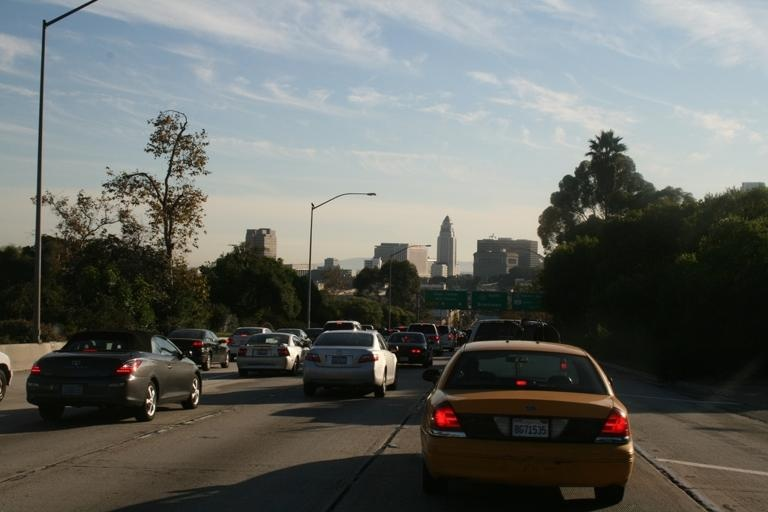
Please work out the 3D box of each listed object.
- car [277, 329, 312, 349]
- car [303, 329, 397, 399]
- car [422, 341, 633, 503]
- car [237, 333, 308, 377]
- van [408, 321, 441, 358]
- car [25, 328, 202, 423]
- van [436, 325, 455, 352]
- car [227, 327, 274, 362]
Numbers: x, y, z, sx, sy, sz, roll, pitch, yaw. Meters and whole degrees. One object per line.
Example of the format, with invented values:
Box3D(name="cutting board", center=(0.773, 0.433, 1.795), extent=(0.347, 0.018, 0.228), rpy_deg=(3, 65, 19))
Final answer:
Box3D(name="car", center=(-4.323, 4.144, 37.232), extent=(1.227, 0.878, 2.683), rpy_deg=(-1, -19, 5))
Box3D(name="car", center=(-0.810, 3.186, 21.501), extent=(1.915, 1.909, 2.714), rpy_deg=(-1, -4, 40))
Box3D(name="car", center=(2.061, 2.519, 10.806), extent=(2.897, 2.278, 1.271), rpy_deg=(1, -2, 7))
Box3D(name="car", center=(-4.296, 3.776, 27.983), extent=(2.422, 1.568, 1.206), rpy_deg=(3, -3, -23))
Box3D(name="van", center=(2.898, 5.347, 47.084), extent=(1.434, 1.396, 2.938), rpy_deg=(1, -2, 10))
Box3D(name="car", center=(-5.851, 2.697, 16.631), extent=(1.851, 1.968, 3.484), rpy_deg=(0, -4, 39))
Box3D(name="van", center=(4.714, 6.320, 56.181), extent=(1.206, 1.216, 2.552), rpy_deg=(0, 2, 9))
Box3D(name="car", center=(-7.178, 4.674, 37.245), extent=(1.807, 1.396, 4.255), rpy_deg=(0, 0, 7))
